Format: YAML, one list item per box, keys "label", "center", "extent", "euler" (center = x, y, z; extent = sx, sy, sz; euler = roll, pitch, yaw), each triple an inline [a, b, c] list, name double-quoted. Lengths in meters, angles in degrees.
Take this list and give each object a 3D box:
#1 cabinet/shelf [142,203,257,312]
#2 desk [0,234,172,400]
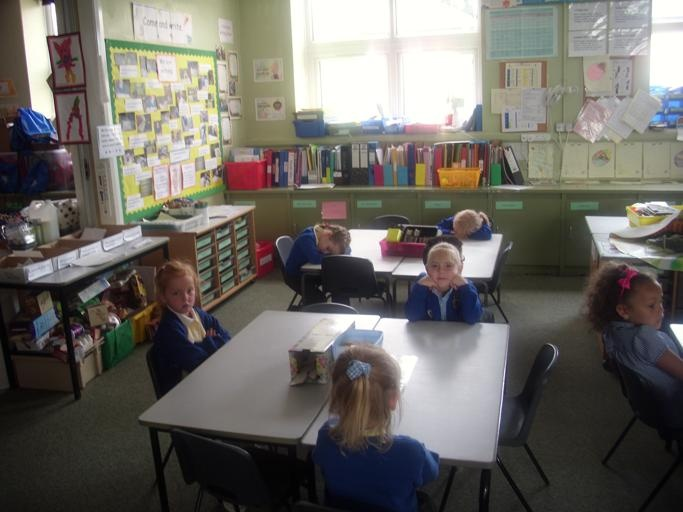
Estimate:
- label: "cabinet/shelf"
  center: [-1.372, -0.047, 5.523]
  extent: [0.542, 0.773, 1.156]
  euler: [4, 17, 15]
- label: "desk"
  center: [-1.937, 0.467, 3.979]
  extent: [0.387, 0.574, 1.054]
  euler: [3, 13, 8]
